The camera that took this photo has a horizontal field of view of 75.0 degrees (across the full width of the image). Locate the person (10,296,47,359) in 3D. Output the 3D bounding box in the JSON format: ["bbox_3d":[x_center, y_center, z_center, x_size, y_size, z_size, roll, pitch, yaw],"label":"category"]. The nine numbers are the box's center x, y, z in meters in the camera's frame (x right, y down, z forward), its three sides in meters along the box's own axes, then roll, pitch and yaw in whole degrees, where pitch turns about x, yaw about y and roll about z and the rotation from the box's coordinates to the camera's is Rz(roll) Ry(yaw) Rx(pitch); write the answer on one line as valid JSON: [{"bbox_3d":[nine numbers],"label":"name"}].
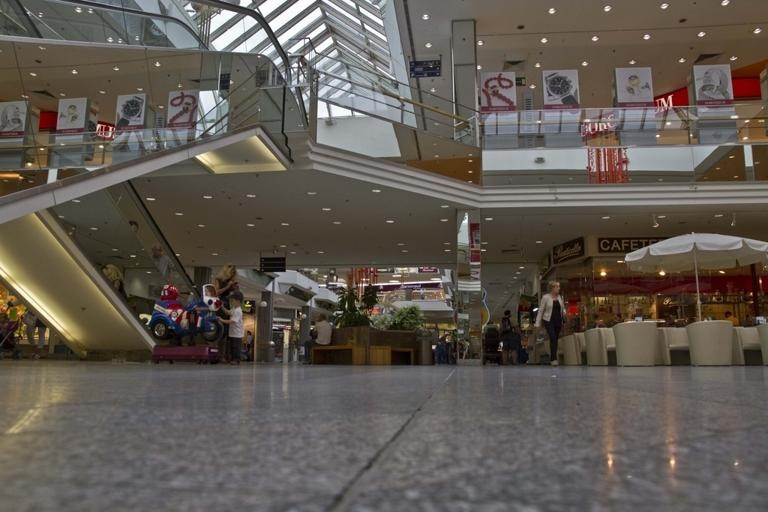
[{"bbox_3d":[-6.860,1.396,9.565,0.738,1.070,1.467,9,-14,-32],"label":"person"}]

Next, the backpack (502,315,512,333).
[{"bbox_3d":[3.947,2.148,15.943,0.274,0.506,0.746,-1,-12,9],"label":"backpack"}]

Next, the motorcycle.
[{"bbox_3d":[-3.757,1.053,9.583,1.494,1.139,0.568,-5,-14,25],"label":"motorcycle"}]

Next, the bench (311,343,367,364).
[{"bbox_3d":[-1.164,2.569,13.252,1.536,0.485,0.795,-9,-15,38],"label":"bench"}]
